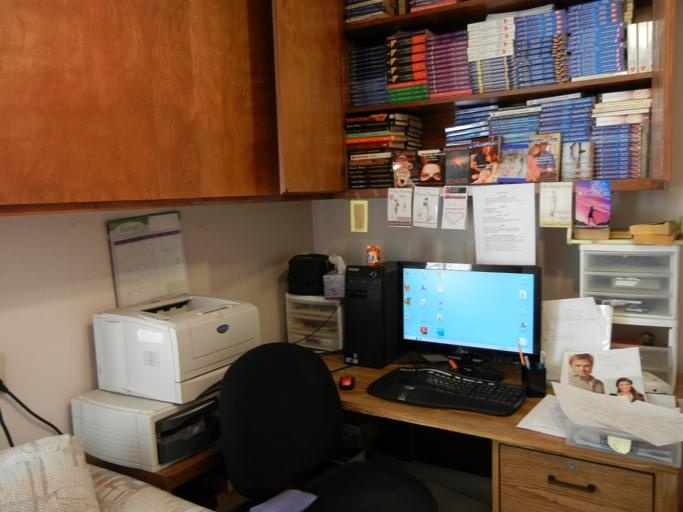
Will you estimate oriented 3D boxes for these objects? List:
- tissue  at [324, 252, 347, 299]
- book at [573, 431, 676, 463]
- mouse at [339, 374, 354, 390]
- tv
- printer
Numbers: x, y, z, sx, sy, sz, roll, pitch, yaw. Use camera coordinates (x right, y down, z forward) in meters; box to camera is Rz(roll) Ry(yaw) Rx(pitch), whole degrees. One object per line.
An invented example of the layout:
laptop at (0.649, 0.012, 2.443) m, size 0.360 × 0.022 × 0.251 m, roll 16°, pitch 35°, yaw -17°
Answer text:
tissue  at (-0.033, 0.105, 2.699) m, size 0.125 × 0.213 × 0.237 m, roll 0°, pitch 2°, yaw 15°
book at (0.939, 0.634, 1.776) m, size 0.148 × 0.032 × 0.142 m, roll 3°, pitch 0°, yaw 34°
mouse at (0.024, 0.538, 2.301) m, size 0.052 × 0.046 × 0.051 m, roll 0°, pitch 1°, yaw 25°
tv at (0.574, 0.270, 2.382) m, size 0.544 × 0.352 × 0.149 m, roll 1°, pitch 4°, yaw 30°
printer at (-0.677, 0.345, 2.178) m, size 0.404 × 0.313 × 0.537 m, roll 4°, pitch 6°, yaw 29°
